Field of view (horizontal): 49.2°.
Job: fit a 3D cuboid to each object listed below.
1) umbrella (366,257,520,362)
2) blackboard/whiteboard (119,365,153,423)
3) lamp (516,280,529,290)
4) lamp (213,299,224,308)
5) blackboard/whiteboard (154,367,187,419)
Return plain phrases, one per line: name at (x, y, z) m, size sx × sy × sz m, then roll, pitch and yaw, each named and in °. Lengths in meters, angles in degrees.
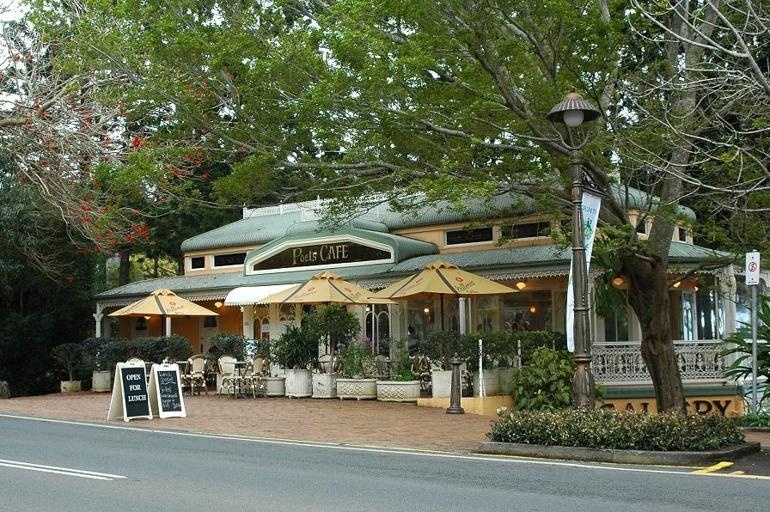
umbrella at (1.687, 1.614, 26.171) m, size 3.327 × 2.177 × 3.271 m, roll 2°, pitch -4°, yaw 1°
blackboard/whiteboard at (-6.800, 3.701, 22.769) m, size 0.435 × 1.508 × 1.023 m, roll -7°, pitch -12°, yaw 29°
lamp at (4.687, 1.045, 28.904) m, size 0.358 × 0.340 × 0.155 m, roll 18°, pitch -32°, yaw -20°
lamp at (-7.252, 2.044, 36.492) m, size 0.461 × 0.172 × 0.452 m, roll -1°, pitch -18°, yaw -3°
blackboard/whiteboard at (-6.024, 3.738, 23.341) m, size 0.859 × 1.499 × 0.776 m, roll 4°, pitch -11°, yaw -25°
